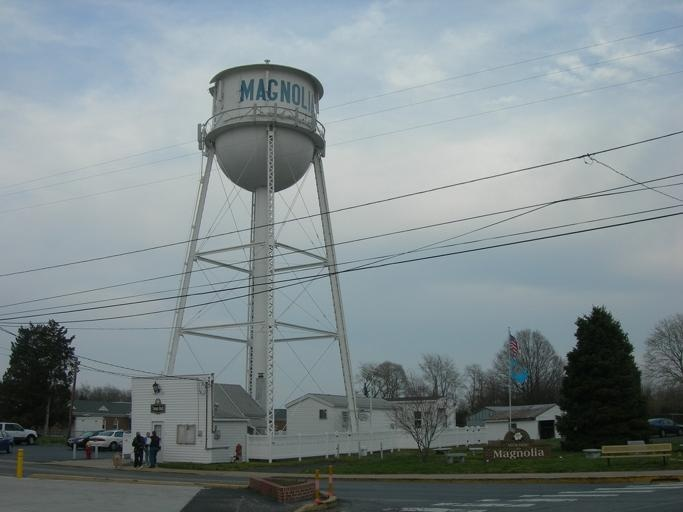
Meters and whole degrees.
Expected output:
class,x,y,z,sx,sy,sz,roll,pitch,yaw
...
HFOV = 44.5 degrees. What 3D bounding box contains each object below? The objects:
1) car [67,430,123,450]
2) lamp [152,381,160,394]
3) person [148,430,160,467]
class,x,y,z,sx,sy,sz,roll,pitch,yaw
car,-16.704,12.782,57.697,3.552,1.413,2.975,-13,-18,37
lamp,-10.643,7.614,48.095,0.331,0.646,0.526,11,-20,-39
person,-10.184,10.596,45.494,0.530,1.908,1.056,1,-16,-12
